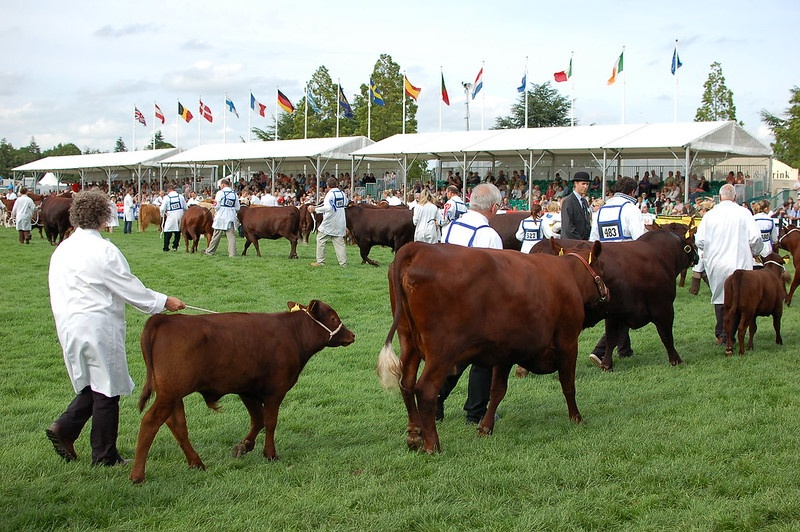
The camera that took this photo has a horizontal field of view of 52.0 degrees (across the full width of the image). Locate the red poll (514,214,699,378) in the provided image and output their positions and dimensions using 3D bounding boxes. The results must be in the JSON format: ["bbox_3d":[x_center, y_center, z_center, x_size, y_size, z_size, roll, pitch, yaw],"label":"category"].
[{"bbox_3d":[3.334,0.422,11.847,2.744,1.953,0.877,-5,-2,-23],"label":"red poll"}]

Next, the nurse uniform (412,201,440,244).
[{"bbox_3d":[0.621,-0.966,18.668,0.624,0.957,0.608,1,-7,-8],"label":"nurse uniform"}]

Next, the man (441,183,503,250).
[{"bbox_3d":[0.717,-0.630,10.210,0.436,0.911,0.324,-6,-9,-25],"label":"man"}]

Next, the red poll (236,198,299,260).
[{"bbox_3d":[-3.761,-0.941,21.943,2.230,1.572,0.641,1,4,17],"label":"red poll"}]

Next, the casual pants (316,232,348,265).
[{"bbox_3d":[-1.757,-0.444,20.688,0.850,1.192,0.404,1,-6,-13],"label":"casual pants"}]

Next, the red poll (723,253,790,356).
[{"bbox_3d":[5.560,0.559,12.737,2.130,1.559,0.548,-6,7,-43],"label":"red poll"}]

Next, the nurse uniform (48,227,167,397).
[{"bbox_3d":[-3.182,0.491,8.587,1.130,1.691,0.554,4,13,11],"label":"nurse uniform"}]

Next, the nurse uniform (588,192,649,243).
[{"bbox_3d":[3.379,-0.632,12.621,0.499,0.986,0.974,9,-8,-42],"label":"nurse uniform"}]

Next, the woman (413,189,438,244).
[{"bbox_3d":[0.560,-0.945,18.739,0.601,1.772,0.567,3,26,-2],"label":"woman"}]

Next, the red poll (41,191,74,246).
[{"bbox_3d":[-10.153,-1.352,24.109,2.396,1.383,0.708,9,7,43],"label":"red poll"}]

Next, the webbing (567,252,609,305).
[{"bbox_3d":[2.315,0.135,9.946,0.142,0.621,0.458,-30,11,-16],"label":"webbing"}]

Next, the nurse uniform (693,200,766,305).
[{"bbox_3d":[5.272,-0.241,13.135,0.905,2.161,0.728,1,33,23],"label":"nurse uniform"}]

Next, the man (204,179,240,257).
[{"bbox_3d":[-4.724,-1.271,21.462,0.743,2.075,0.730,2,-6,-12],"label":"man"}]

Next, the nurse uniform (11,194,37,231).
[{"bbox_3d":[-11.807,-1.604,25.476,0.663,1.586,0.442,-3,21,-38],"label":"nurse uniform"}]

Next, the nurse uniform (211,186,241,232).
[{"bbox_3d":[-4.547,-1.479,21.259,0.619,1.116,0.476,-3,14,-19],"label":"nurse uniform"}]

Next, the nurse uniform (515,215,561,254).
[{"bbox_3d":[2.730,-0.541,16.475,0.819,0.878,0.521,6,-6,37],"label":"nurse uniform"}]

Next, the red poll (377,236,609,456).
[{"bbox_3d":[1.063,0.966,9.290,2.228,1.489,0.704,1,-3,-37],"label":"red poll"}]

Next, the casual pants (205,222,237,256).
[{"bbox_3d":[-4.945,-0.754,22.333,0.692,0.911,0.278,13,8,-17],"label":"casual pants"}]
